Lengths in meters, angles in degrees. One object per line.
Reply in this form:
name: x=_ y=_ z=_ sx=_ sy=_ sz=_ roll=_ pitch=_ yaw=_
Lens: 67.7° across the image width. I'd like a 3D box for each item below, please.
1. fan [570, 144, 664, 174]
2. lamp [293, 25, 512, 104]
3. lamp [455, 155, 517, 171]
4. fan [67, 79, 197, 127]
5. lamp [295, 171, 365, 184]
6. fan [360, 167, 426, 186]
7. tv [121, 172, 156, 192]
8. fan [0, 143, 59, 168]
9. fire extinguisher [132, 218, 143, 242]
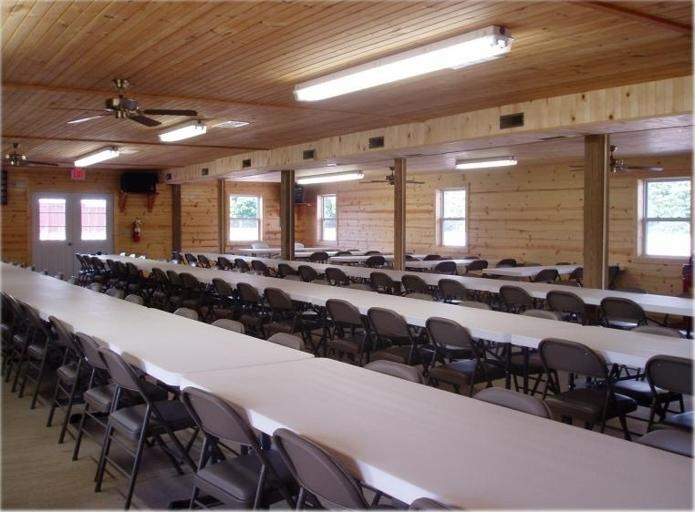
fan: x=4.300 y=-1.537 z=8.131 sx=1.246 sy=0.314 sz=1.101 roll=-1 pitch=2 yaw=-28
lamp: x=0.436 y=-1.672 z=4.548 sx=1.964 sy=0.316 sz=0.324 roll=7 pitch=12 yaw=40
lamp: x=2.507 y=-1.741 z=9.558 sx=1.076 sy=0.171 sz=0.323 roll=7 pitch=11 yaw=44
fan: x=-2.187 y=-1.599 z=5.473 sx=0.569 sy=0.420 sz=1.326 roll=-8 pitch=11 yaw=-40
lamp: x=-0.409 y=-1.806 z=11.783 sx=1.774 sy=0.229 sz=0.548 roll=6 pitch=10 yaw=37
fan: x=1.057 y=-1.764 z=12.001 sx=1.265 sy=0.306 sz=1.031 roll=0 pitch=-1 yaw=-4
tv: x=-5.683 y=-2.010 z=13.990 sx=0.795 sy=0.405 sz=0.406 roll=-2 pitch=3 yaw=-36
fan: x=-6.433 y=-1.938 z=10.078 sx=1.207 sy=0.298 sz=1.056 roll=1 pitch=3 yaw=23
fire extinguisher: x=-5.825 y=-0.700 z=14.348 sx=0.272 sy=0.643 sz=0.359 roll=-3 pitch=11 yaw=-12
